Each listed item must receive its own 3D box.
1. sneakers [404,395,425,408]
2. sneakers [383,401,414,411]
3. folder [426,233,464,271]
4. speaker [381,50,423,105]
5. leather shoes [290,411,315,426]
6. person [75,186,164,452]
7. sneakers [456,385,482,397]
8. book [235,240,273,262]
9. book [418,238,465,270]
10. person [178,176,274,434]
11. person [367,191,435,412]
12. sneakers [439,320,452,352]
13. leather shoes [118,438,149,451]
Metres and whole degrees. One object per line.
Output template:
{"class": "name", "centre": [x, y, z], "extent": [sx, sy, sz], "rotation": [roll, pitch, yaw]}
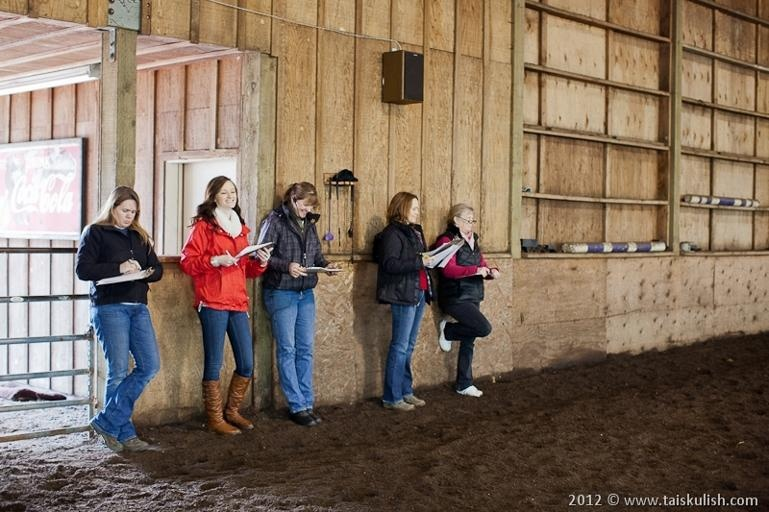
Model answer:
{"class": "sneakers", "centre": [0.331, 1.655, 9.783], "extent": [0.202, 0.097, 0.116], "rotation": [-1, 1, 37]}
{"class": "sneakers", "centre": [0.170, 1.680, 9.702], "extent": [0.283, 0.140, 0.130], "rotation": [-2, -3, 13]}
{"class": "folder", "centre": [0.636, -0.004, 9.321], "extent": [0.335, 0.143, 0.333], "rotation": [-41, -7, 20]}
{"class": "speaker", "centre": [0.205, -2.034, 9.867], "extent": [0.478, 0.604, 0.256], "rotation": [1, 9, -2]}
{"class": "leather shoes", "centre": [-0.850, 1.713, 9.117], "extent": [0.274, 0.141, 0.108], "rotation": [-2, 3, 27]}
{"class": "person", "centre": [-2.514, 0.616, 8.274], "extent": [0.764, 2.506, 0.502], "rotation": [-1, 9, -14]}
{"class": "sneakers", "centre": [1.021, 1.605, 10.219], "extent": [0.227, 0.115, 0.139], "rotation": [-1, -1, 12]}
{"class": "book", "centre": [-1.300, -0.047, 8.622], "extent": [0.488, 0.061, 0.285], "rotation": [-24, -13, 21]}
{"class": "book", "centre": [0.622, -0.025, 9.321], "extent": [0.341, 0.149, 0.340], "rotation": [-40, -10, 21]}
{"class": "person", "centre": [-1.616, 0.497, 8.740], "extent": [0.838, 2.559, 0.703], "rotation": [-2, 9, -16]}
{"class": "person", "centre": [0.214, 0.507, 9.633], "extent": [0.640, 2.386, 0.674], "rotation": [-2, 9, -18]}
{"class": "sneakers", "centre": [0.734, 0.956, 10.365], "extent": [0.132, 0.375, 0.145], "rotation": [-2, 10, 17]}
{"class": "leather shoes", "centre": [-2.403, 1.837, 8.358], "extent": [0.235, 0.133, 0.105], "rotation": [-1, -3, -3]}
